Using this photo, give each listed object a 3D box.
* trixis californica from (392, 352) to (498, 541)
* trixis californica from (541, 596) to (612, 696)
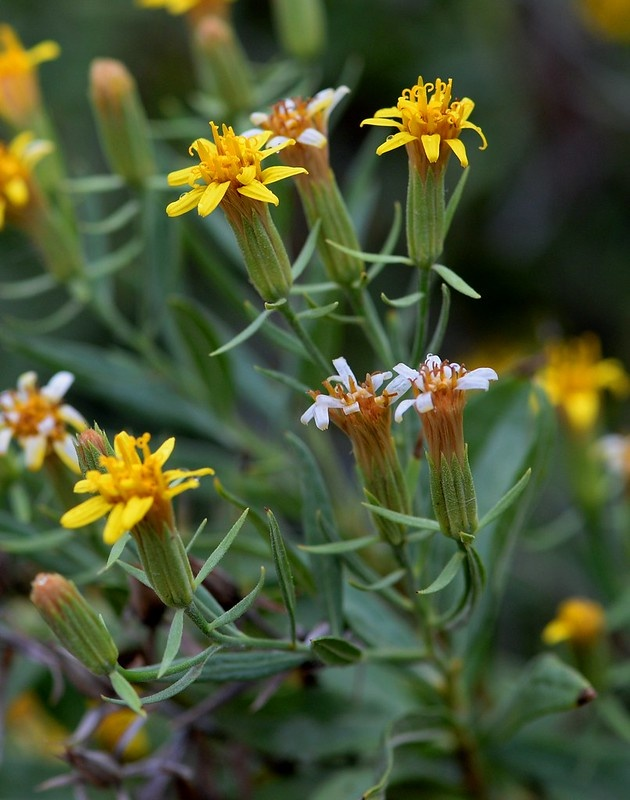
[{"bbox_3d":[0.072,0.023,0.481,0.053,0.086,0.090,-2,47,10],"label":"trixis californica"},{"bbox_3d":[0.224,0.199,0.728,0.054,0.072,0.049,29,59,32],"label":"trixis californica"}]
